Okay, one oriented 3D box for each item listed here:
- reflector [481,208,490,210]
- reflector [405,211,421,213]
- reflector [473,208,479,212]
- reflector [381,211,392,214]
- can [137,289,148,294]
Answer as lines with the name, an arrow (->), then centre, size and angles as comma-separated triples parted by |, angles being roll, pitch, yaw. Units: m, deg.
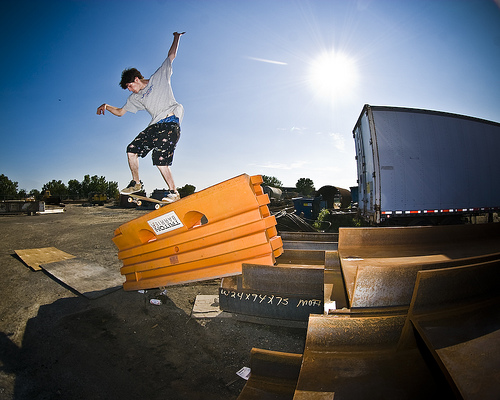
reflector -> 7.369, 0.266, 7.893 | 0.434, 0.069, 0.046 | -3, 7, -25
reflector -> 4.611, 0.338, 7.150 | 0.450, 0.048, 0.042 | -1, 7, -10
reflector -> 6.934, 0.286, 7.745 | 0.115, 0.122, 0.031 | 1, 8, 6
reflector -> 3.839, 0.349, 7.100 | 0.291, 0.072, 0.015 | 0, 6, -1
can -> -2.069, 1.751, 4.854 | 0.207, 0.054, 0.081 | 1, 7, 4
